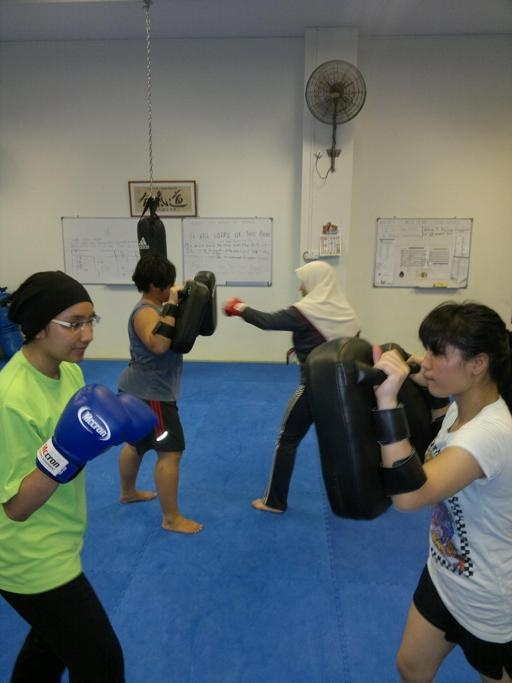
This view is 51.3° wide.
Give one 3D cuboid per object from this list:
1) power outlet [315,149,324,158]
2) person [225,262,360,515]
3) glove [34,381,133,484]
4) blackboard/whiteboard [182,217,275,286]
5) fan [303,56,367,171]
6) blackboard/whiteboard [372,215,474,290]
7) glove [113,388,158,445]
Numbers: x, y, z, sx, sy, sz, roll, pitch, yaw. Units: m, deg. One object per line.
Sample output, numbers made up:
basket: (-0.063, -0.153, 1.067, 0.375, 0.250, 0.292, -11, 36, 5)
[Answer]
power outlet: (0.650, -1.915, 5.456, 0.069, 0.096, 0.060, 2, 5, 13)
person: (0.174, 0.232, 2.945, 0.735, 1.309, 0.642, 2, 12, 10)
glove: (-0.381, 0.217, 1.290, 0.164, 0.260, 0.101, 44, -8, 15)
blackboard/whiteboard: (-0.283, -1.003, 5.708, 1.202, 0.873, 0.095, 0, 16, 1)
fan: (0.749, -2.146, 5.187, 0.561, 1.057, 0.542, 1, 12, 5)
blackboard/whiteboard: (1.846, -1.004, 5.846, 0.842, 0.669, 0.065, 0, 11, 2)
glove: (-0.330, 0.184, 1.365, 0.130, 0.055, 0.126, -8, 62, -52)
